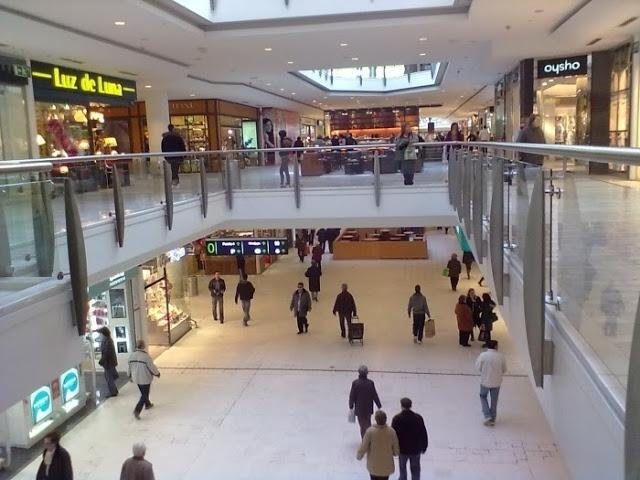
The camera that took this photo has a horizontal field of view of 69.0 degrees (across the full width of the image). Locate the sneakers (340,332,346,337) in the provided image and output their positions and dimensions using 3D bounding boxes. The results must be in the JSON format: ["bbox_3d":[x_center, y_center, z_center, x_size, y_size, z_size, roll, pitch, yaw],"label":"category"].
[{"bbox_3d":[0.694,2.915,14.456,0.142,0.163,0.137,-11,17,-36],"label":"sneakers"}]

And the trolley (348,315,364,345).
[{"bbox_3d":[1.076,2.710,14.279,0.595,1.118,0.619,0,1,4],"label":"trolley"}]

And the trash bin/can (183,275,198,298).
[{"bbox_3d":[-5.329,1.888,19.090,0.651,0.763,0.657,2,9,6],"label":"trash bin/can"}]

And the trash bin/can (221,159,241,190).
[{"bbox_3d":[-2.375,-1.743,12.417,0.480,0.843,0.255,-7,12,-11],"label":"trash bin/can"}]

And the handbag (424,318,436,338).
[{"bbox_3d":[3.161,2.564,13.544,0.279,0.640,0.260,-3,12,8],"label":"handbag"}]

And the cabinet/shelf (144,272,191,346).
[{"bbox_3d":[-4.933,2.235,14.756,1.007,2.069,2.038,-2,7,2],"label":"cabinet/shelf"}]

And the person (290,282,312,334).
[{"bbox_3d":[-0.660,2.117,15.119,0.614,1.745,1.274,-6,12,-4],"label":"person"}]

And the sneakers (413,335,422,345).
[{"bbox_3d":[2.826,2.975,13.829,0.328,0.242,0.123,-1,15,0],"label":"sneakers"}]

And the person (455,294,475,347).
[{"bbox_3d":[4.180,2.309,13.458,0.469,1.629,0.696,-1,13,19],"label":"person"}]

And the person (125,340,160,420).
[{"bbox_3d":[-4.124,3.050,10.675,0.647,1.943,1.259,-10,14,-25],"label":"person"}]

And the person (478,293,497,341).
[{"bbox_3d":[4.841,2.208,13.495,0.428,1.708,0.924,-1,13,19],"label":"person"}]

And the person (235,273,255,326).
[{"bbox_3d":[-2.702,2.037,16.550,0.600,1.583,1.907,-7,13,-11],"label":"person"}]

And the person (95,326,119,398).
[{"bbox_3d":[-5.304,2.956,11.535,0.393,1.881,0.774,-11,13,-27],"label":"person"}]

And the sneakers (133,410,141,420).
[{"bbox_3d":[-4.160,3.936,10.484,0.165,0.187,0.129,9,19,26],"label":"sneakers"}]
